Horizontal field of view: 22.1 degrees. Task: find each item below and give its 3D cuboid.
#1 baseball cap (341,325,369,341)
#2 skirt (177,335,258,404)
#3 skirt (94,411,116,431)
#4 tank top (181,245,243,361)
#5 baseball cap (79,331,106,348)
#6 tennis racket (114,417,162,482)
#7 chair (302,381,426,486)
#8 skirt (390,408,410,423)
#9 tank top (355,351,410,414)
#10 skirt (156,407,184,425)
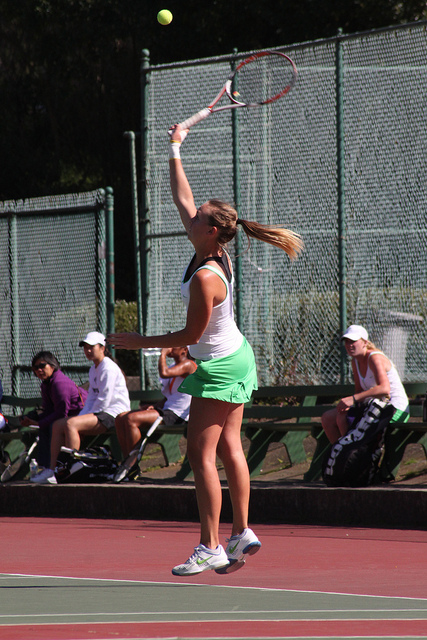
[{"bbox_3d":[1.021,0.071,7.886,0.105,0.088,0.155,-2,-13,45],"label":"baseball cap"},{"bbox_3d":[0.023,0.215,4.976,0.303,0.345,0.524,-3,4,12],"label":"skirt"},{"bbox_3d":[-0.900,0.832,9.150,0.187,0.109,0.060,31,-47,-28],"label":"skirt"},{"bbox_3d":[0.033,-0.086,4.823,0.308,0.645,0.444,-1,8,2],"label":"tank top"},{"bbox_3d":[-1.030,0.153,9.294,0.206,0.116,0.289,-1,3,-8],"label":"baseball cap"},{"bbox_3d":[-0.607,1.005,8.597,0.056,0.750,0.237,41,21,19],"label":"tennis racket"},{"bbox_3d":[1.099,0.815,7.865,0.231,0.416,0.627,19,-23,-42],"label":"chair"},{"bbox_3d":[1.320,0.698,7.844,0.097,0.135,0.090,5,45,2],"label":"skirt"},{"bbox_3d":[1.178,0.443,7.806,0.216,0.418,0.263,-6,-27,-24],"label":"tank top"},{"bbox_3d":[-0.353,0.802,9.113,0.180,0.072,0.116,35,16,-18],"label":"skirt"}]
